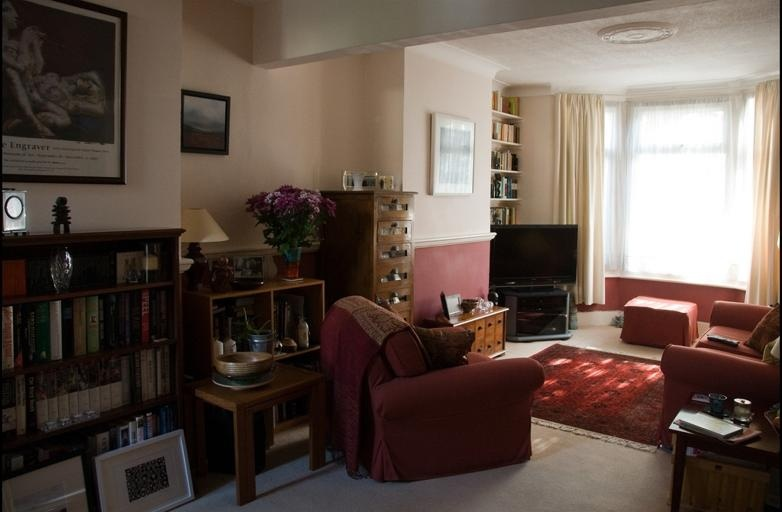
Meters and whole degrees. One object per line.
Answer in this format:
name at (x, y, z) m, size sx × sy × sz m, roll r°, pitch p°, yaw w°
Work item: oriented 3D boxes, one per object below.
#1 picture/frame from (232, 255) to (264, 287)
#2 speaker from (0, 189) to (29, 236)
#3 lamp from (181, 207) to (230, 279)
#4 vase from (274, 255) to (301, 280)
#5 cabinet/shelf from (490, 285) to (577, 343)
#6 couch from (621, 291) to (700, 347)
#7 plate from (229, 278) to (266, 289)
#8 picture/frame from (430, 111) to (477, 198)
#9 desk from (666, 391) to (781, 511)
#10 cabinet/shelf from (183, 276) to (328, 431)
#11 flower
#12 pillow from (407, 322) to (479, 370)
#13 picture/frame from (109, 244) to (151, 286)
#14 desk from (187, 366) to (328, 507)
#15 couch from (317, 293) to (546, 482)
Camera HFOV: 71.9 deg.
picture/frame at (-1.150, 0.128, 4.367) m, size 0.254 × 0.239 × 0.060 m, roll 4°, pitch 0°, yaw -15°
speaker at (-2.210, -0.259, 3.181) m, size 0.117 × 0.257 × 0.071 m, roll -7°, pitch 13°, yaw -38°
lamp at (-1.483, -0.104, 4.194) m, size 0.506 × 0.586 × 0.500 m, roll -1°, pitch 2°, yaw -14°
vase at (-0.871, 0.111, 4.737) m, size 0.202 × 0.210 × 0.218 m, roll -8°, pitch 10°, yaw -37°
cabinet/shelf at (1.904, 0.587, 7.410) m, size 1.011 × 0.762 × 0.644 m, roll -3°, pitch 5°, yaw -20°
couch at (3.564, 0.690, 7.124) m, size 0.857 × 0.549 × 0.644 m, roll 6°, pitch 16°, yaw 35°
plate at (-1.149, 0.219, 4.338) m, size 0.240 × 0.078 × 0.082 m, roll -2°, pitch 11°, yaw -18°
picture/frame at (0.684, -1.149, 6.050) m, size 0.111 × 1.000 × 1.046 m, roll 2°, pitch 3°, yaw 33°
desk at (2.203, 1.315, 3.617) m, size 0.690 × 0.642 × 0.683 m, roll -2°, pitch 4°, yaw -45°
cabinet/shelf at (-1.076, 0.767, 4.169) m, size 0.376 × 1.146 × 1.262 m, roll 2°, pitch 6°, yaw 29°
flower at (-0.823, -0.347, 4.783) m, size 0.663 × 0.653 × 0.731 m, roll 0°, pitch 9°, yaw 6°
pillow at (0.415, 0.674, 4.140) m, size 0.350 × 0.349 × 0.129 m, roll -4°, pitch 0°, yaw 2°
picture/frame at (-1.734, 0.070, 3.600) m, size 0.273 × 0.259 × 0.096 m, roll 0°, pitch -3°, yaw -43°
desk at (-1.002, 1.179, 4.077) m, size 0.844 × 0.815 × 0.840 m, roll 3°, pitch 8°, yaw 34°
couch at (0.242, 0.797, 4.224) m, size 1.291 × 1.041 × 1.448 m, roll -6°, pitch 9°, yaw -21°
